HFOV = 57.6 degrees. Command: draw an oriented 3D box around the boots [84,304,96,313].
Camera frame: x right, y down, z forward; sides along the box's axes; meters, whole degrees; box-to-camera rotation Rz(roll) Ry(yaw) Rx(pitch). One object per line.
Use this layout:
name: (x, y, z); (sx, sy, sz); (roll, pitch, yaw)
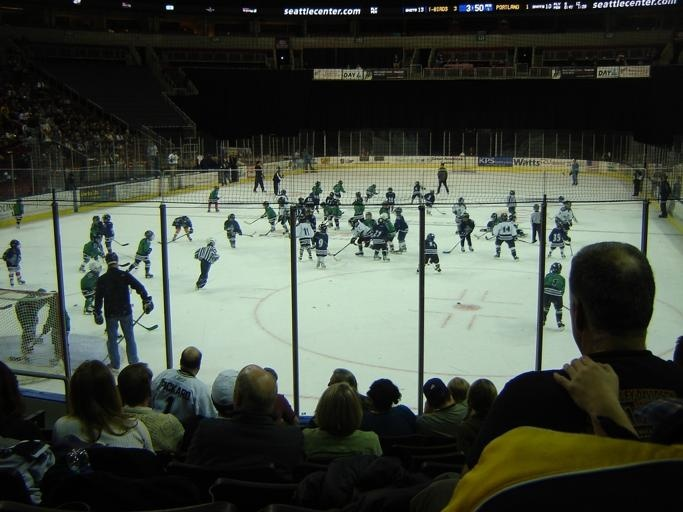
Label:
boots: (-3.787, 0.775, 9.247); (0.276, 0.133, 0.101); (2, 4, 37)

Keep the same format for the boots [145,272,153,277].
boots: (-3.623, 0.347, 11.712); (0.079, 0.131, 0.131); (0, -1, -4)
